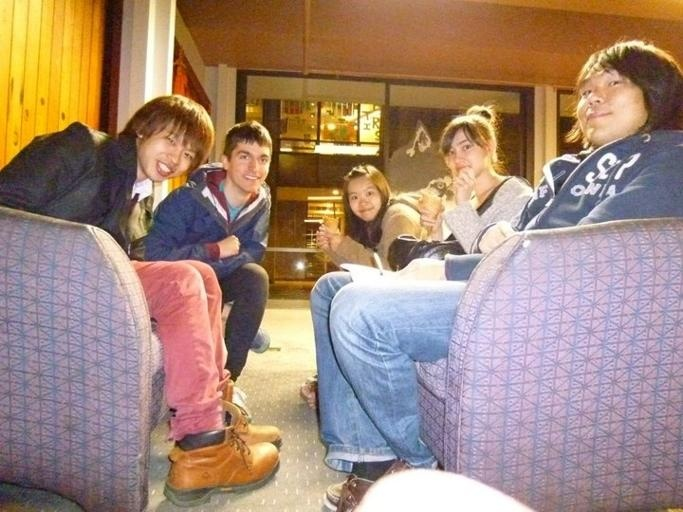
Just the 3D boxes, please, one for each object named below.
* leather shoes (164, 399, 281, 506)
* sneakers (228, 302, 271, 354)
[{"bbox_3d":[-0.299,0.574,1.752,0.164,0.203,0.428,23,10,38],"label":"leather shoes"},{"bbox_3d":[-0.416,0.375,2.626,0.194,0.308,0.131,1,15,-2],"label":"sneakers"}]
